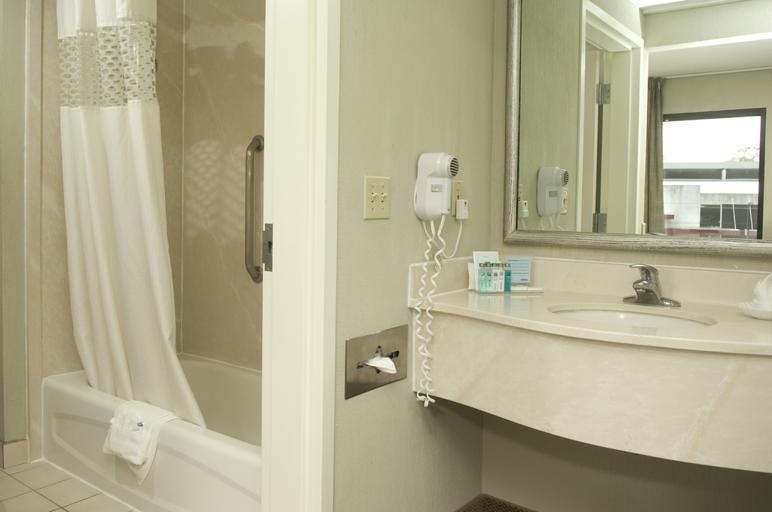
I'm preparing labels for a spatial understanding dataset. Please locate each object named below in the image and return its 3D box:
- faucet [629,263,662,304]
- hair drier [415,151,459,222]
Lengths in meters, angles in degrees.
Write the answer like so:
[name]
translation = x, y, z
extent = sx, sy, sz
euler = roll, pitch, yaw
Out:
[faucet]
translation = 1.103, 0.112, 2.518
extent = 0.125, 0.161, 0.133
euler = 3, 10, 24
[hair drier]
translation = 0.198, -0.290, 2.476
extent = 0.141, 0.304, 0.215
euler = 2, 2, 36
